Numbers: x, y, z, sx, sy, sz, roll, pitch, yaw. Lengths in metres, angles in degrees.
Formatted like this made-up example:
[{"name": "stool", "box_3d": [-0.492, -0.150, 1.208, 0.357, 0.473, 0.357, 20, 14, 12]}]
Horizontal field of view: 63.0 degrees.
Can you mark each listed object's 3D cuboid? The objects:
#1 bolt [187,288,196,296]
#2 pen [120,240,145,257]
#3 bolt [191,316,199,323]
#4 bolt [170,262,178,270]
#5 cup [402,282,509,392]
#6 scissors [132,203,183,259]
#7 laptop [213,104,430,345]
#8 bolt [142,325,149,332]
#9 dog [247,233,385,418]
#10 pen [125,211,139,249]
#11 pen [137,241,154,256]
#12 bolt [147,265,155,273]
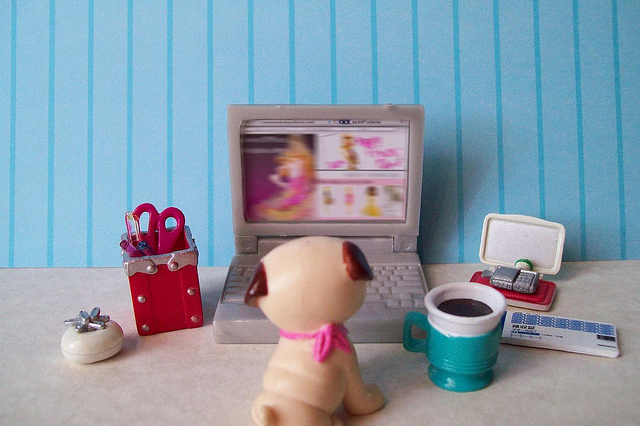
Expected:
[{"name": "bolt", "box_3d": [-0.245, 0.149, 1.000, 0.014, 0.016, 0.002, -6, 13, -13]}, {"name": "pen", "box_3d": [-0.358, 0.066, 1.004, 0.068, 0.025, 0.017, 24, 17, 30]}, {"name": "bolt", "box_3d": [-0.241, 0.204, 1.011, 0.014, 0.014, 0.001, -4, 13, -5]}, {"name": "bolt", "box_3d": [-0.274, 0.098, 0.982, 0.014, 0.015, 0.001, -7, 14, -16]}, {"name": "cup", "box_3d": [0.235, 0.216, 0.923, 0.172, 0.146, 0.141, 9, 20, 33]}, {"name": "scissors", "box_3d": [-0.320, 0.045, 1.035, 0.112, 0.122, 0.014, -8, -32, -12]}, {"name": "laptop", "box_3d": [0.015, 0.005, 1.043, 0.436, 0.386, 0.342, 0, 21, -1]}, {"name": "bolt", "box_3d": [-0.331, 0.216, 0.991, 0.012, 0.012, 0.003, -1, 7, -16]}, {"name": "dog", "box_3d": [-0.010, 0.185, 0.816, 0.210, 0.286, 0.103, -6, 13, -10]}, {"name": "pen", "box_3d": [-0.371, 0.033, 1.035, 0.019, 0.071, 0.023, 15, 32, 29]}, {"name": "pen", "box_3d": [-0.336, 0.067, 1.012, 0.008, 0.023, 0.033, -16, -33, 18]}, {"name": "bolt", "box_3d": [-0.314, 0.103, 0.973, 0.012, 0.014, 0.002, -4, 13, -3]}]
